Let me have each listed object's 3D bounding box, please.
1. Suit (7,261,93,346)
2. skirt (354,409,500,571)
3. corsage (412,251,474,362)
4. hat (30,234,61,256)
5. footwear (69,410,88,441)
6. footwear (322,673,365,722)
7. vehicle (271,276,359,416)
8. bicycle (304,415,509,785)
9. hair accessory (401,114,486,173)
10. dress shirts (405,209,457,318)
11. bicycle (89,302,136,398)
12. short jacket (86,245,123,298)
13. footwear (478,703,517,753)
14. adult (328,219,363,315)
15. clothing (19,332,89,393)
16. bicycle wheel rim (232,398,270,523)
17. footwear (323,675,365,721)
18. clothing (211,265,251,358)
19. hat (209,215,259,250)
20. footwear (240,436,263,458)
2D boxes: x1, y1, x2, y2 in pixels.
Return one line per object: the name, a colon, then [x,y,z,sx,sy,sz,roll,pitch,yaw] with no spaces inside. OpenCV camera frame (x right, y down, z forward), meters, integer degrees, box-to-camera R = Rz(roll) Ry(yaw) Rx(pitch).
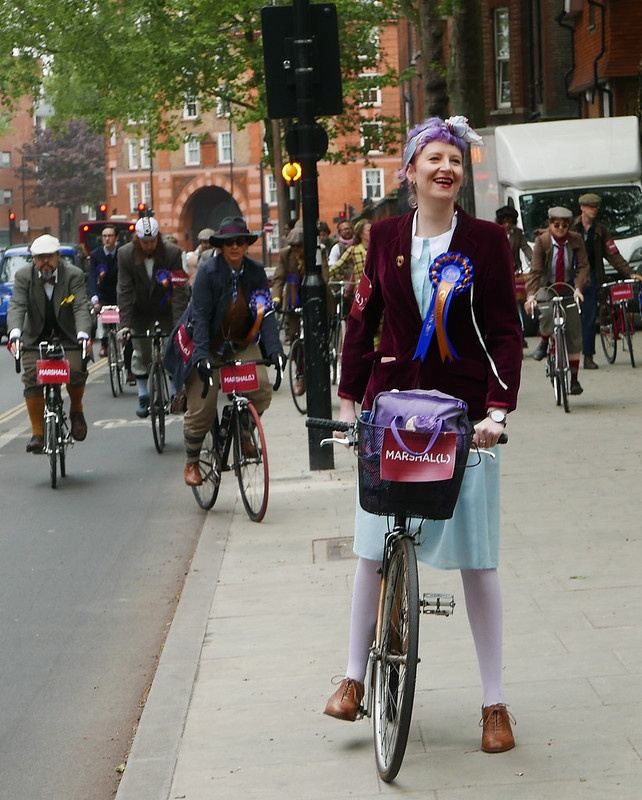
Suit: [-2.113,-0.768,9.329,0.590,0.809,0.783,-1,10,-6]
skirt: [0.305,0.184,3.401,0.551,0.413,0.303,5,6,4]
corsage: [0.336,-0.251,3.254,0.182,0.294,0.053,-5,6,3]
hat: [-2.156,-1.199,9.344,0.188,0.113,0.265,-6,18,-4]
footwear: [-2.004,0.214,9.833,0.101,0.308,0.127,-12,-2,-9]
footwear: [0.062,0.867,3.450,0.070,0.074,0.165,7,2,12]
vehicle: [-0.031,-0.609,13.478,0.889,1.114,1.795,0,3,2]
bicycle: [0.119,0.638,3.460,0.500,0.645,1.015,6,-6,-7]
hair accessory: [0.323,-0.724,3.319,0.163,0.175,0.112,-6,14,-10]
dress shirts: [0.301,-0.373,3.291,0.090,0.334,0.057,6,-11,-4]
bicycle: [-2.561,-0.590,15.057,0.620,0.865,1.486,-3,7,-22]
short jacket: [-2.706,-1.599,15.096,0.517,0.694,0.381,-4,42,-20]
footwear: [0.486,0.917,3.288,0.061,0.062,0.167,-2,0,5]
adult: [0.381,-1.572,15.113,0.415,1.301,0.748,-3,6,-8]
clothing: [-2.088,-0.273,9.396,0.431,0.448,0.202,2,16,-2]
bicycle wheel rim: [-0.413,0.359,7.149,0.170,0.736,0.580,-7,6,-12]
footwear: [0.070,0.874,3.472,0.070,0.074,0.164,7,2,12]
clothing: [-0.582,-0.548,7.448,0.374,0.506,0.284,4,1,-21]
hat: [-0.528,-1.019,7.187,0.275,0.187,0.400,-6,5,-2]
footwear: [-0.426,0.293,7.185,0.065,0.139,0.192,-6,6,-35]
